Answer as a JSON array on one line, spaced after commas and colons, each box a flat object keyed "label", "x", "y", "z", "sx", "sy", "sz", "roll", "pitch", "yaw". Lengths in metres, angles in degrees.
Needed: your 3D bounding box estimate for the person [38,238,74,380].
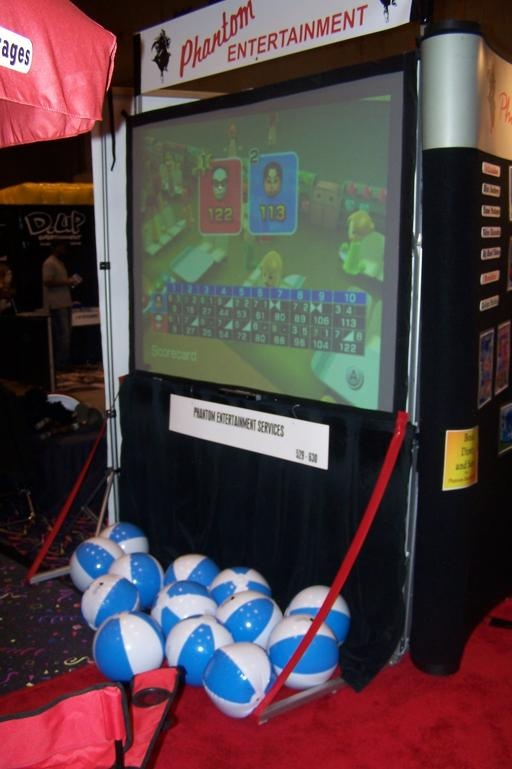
[{"label": "person", "x": -2.218, "y": -0.867, "z": 6.155, "sx": 0.385, "sy": 1.470, "sz": 0.386, "roll": -6, "pitch": 7, "yaw": -41}]
